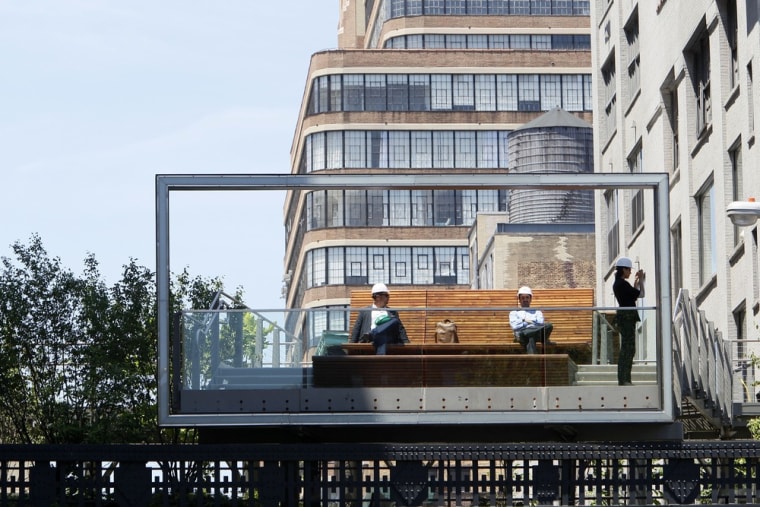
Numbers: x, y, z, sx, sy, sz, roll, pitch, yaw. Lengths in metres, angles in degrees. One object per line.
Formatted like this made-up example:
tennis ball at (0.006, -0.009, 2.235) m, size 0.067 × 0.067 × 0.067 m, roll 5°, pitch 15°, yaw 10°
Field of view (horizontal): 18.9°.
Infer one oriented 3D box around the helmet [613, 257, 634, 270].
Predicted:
helmet at (6.313, 0.230, 60.772) m, size 0.640 × 0.320 × 0.509 m, roll -5°, pitch -4°, yaw 16°

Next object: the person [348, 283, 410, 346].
person at (-0.062, 1.637, 60.092) m, size 1.504 × 1.818 × 0.433 m, roll -2°, pitch -16°, yaw 2°

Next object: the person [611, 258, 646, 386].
person at (6.569, 1.721, 60.303) m, size 0.805 × 3.414 × 0.783 m, roll -2°, pitch -16°, yaw 4°
